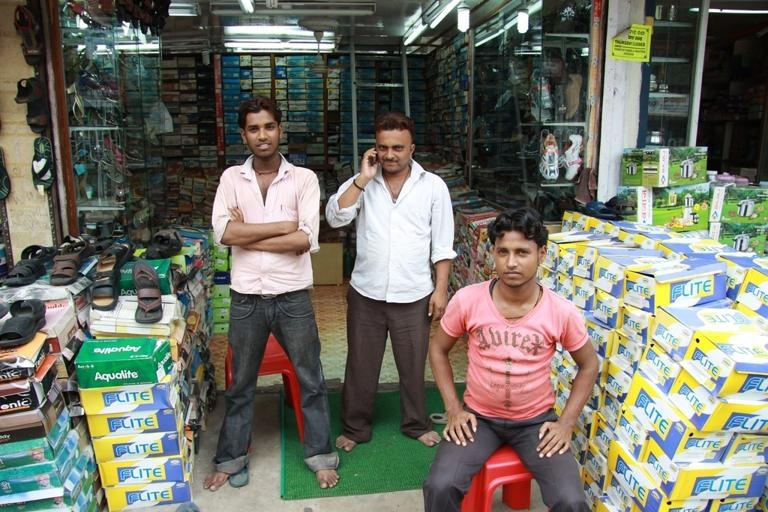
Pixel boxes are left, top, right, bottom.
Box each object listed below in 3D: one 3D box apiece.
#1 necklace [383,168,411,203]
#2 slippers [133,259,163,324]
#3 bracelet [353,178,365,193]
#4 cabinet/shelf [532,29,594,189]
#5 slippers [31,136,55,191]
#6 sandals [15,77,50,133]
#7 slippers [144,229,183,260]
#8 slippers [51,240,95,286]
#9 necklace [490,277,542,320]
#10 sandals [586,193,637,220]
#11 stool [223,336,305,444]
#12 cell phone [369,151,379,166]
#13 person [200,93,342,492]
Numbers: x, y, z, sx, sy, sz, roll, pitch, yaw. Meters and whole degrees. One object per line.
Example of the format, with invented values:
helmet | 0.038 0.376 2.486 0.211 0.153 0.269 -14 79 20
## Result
necklace | 0.080 -0.479 3.301 0.139 0.236 0.115 -2 -8 5
slippers | -1.448 0.239 2.967 0.145 0.418 0.113 -5 -22 -23
bracelet | -0.165 -0.465 3.154 0.022 0.079 0.079 -49 5 -19
cabinet/shelf | 1.578 -1.297 4.399 0.400 1.302 0.525 3 20 20
slippers | -2.484 -0.682 3.574 0.174 0.358 0.096 0 10 -6
sandals | -2.522 -1.087 3.475 0.182 0.399 0.086 -2 11 -2
slippers | -1.571 -0.085 3.465 0.151 0.094 0.284 1 18 3
slippers | -1.995 0.048 3.090 0.159 0.117 0.433 -2 26 -8
necklace | 0.711 0.216 2.582 0.224 0.235 0.093 1 -1 15
sandals | 1.859 -0.387 3.949 0.185 0.207 0.539 6 -1 -1
stool | -0.787 0.952 3.700 0.773 0.724 0.761 -2 12 -16
cell phone | -0.061 -0.650 3.158 0.037 0.122 0.027 21 -13 -21
person | -0.747 0.245 3.087 0.813 2.460 0.555 -3 11 -5
